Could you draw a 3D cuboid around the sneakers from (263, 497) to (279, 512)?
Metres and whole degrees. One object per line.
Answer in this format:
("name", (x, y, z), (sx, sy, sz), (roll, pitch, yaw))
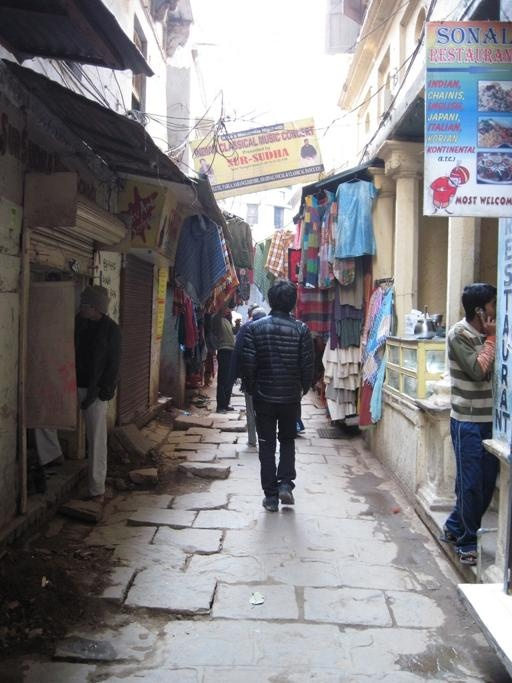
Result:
("sneakers", (0.105, 1.396, 4.669), (0.147, 0.098, 0.088), (3, 1, 25))

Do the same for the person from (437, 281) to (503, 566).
("person", (1.313, 0.523, 3.353), (0.331, 1.719, 0.579), (2, 1, 25))

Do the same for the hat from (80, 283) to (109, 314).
("hat", (-1.352, -0.356, 4.658), (0.180, 0.243, 0.262), (6, 14, 9))

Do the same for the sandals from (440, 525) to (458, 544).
("sandals", (1.297, 1.314, 3.690), (0.041, 0.072, 0.151), (1, 3, 8))

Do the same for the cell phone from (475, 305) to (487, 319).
("cell phone", (1.370, -0.165, 3.329), (0.078, 0.081, 0.034), (3, 1, 38))

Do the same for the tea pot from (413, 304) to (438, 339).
("tea pot", (1.642, -0.158, 5.255), (0.170, 0.332, 0.290), (1, -4, 3))

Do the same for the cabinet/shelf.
("cabinet/shelf", (1.563, 0.279, 5.441), (0.277, 0.632, 0.949), (-1, 4, -7))

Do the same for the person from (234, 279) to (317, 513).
("person", (0.165, 0.466, 4.747), (0.632, 1.540, 0.374), (2, 1, 3))

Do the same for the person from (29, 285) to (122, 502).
("person", (-1.504, 0.430, 4.709), (0.624, 1.828, 0.505), (2, 1, -5))
